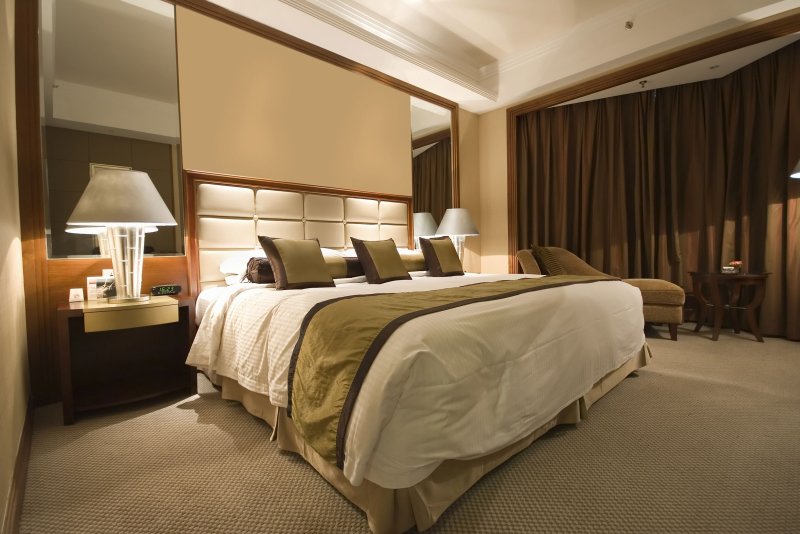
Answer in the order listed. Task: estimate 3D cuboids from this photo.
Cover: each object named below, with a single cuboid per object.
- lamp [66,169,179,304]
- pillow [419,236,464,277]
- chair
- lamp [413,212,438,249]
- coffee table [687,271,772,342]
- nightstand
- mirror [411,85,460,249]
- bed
[{"bbox_3d":[-2.389,-0.229,4.279,0.864,1.143,0.831,-4,3,-43],"label":"lamp"},{"bbox_3d":[0.477,-0.101,5.338,0.487,0.485,0.247,-6,-2,-45],"label":"pillow"},{"bbox_3d":[2.372,0.294,5.773,1.499,0.984,1.054,-4,-3,28],"label":"chair"},{"bbox_3d":[0.305,-0.492,6.463,0.394,0.440,0.382,0,5,37],"label":"lamp"},{"bbox_3d":[3.756,0.422,5.604,0.655,0.723,0.651,-1,-2,25],"label":"coffee table"},{"bbox_3d":[-2.529,0.765,4.398,0.858,0.818,0.481,-2,-2,-39],"label":"nightstand"},{"bbox_3d":[0.429,-1.287,6.426,0.148,2.353,1.900,0,3,29],"label":"mirror"},{"bbox_3d":[0.001,0.836,3.670,2.056,0.616,2.106,-2,-1,43],"label":"bed"}]
